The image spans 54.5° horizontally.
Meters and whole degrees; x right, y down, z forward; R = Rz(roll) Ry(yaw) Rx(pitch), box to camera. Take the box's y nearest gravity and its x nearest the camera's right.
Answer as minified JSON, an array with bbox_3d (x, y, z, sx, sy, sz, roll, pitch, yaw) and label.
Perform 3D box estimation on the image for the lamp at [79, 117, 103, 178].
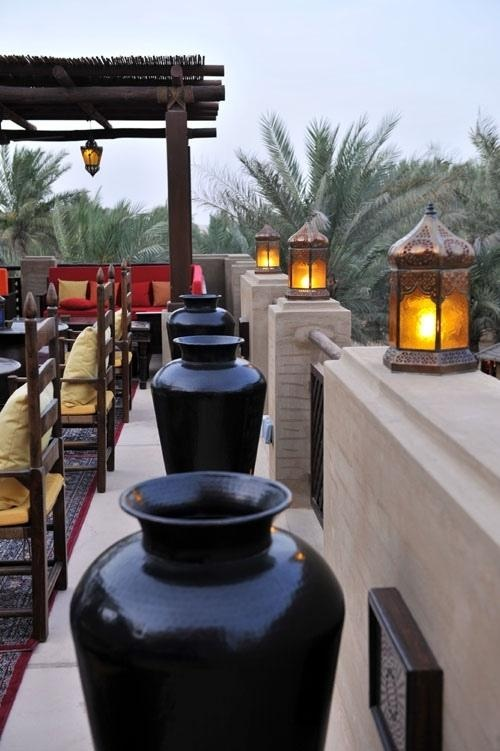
[{"bbox_3d":[-3.380,-4.864,10.358,0.387,1.487,0.699,-1,-13,-19],"label":"lamp"}]

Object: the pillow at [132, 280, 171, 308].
[{"bbox_3d":[-1.845,-1.492,9.121,0.684,0.538,0.266,-3,-29,-11],"label":"pillow"}]

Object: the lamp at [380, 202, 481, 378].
[{"bbox_3d":[0.334,-0.151,0.910,0.174,0.310,0.106,-9,-13,18],"label":"lamp"}]
